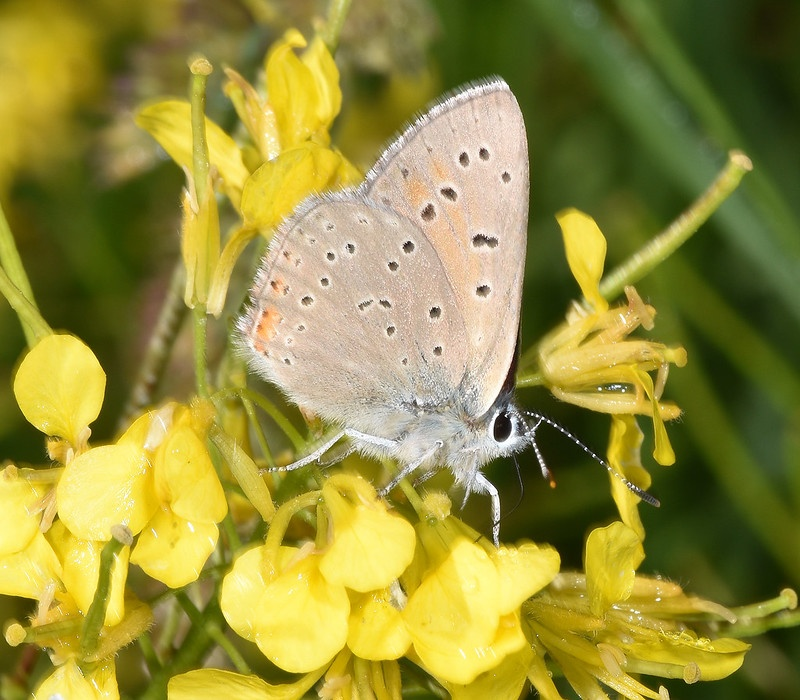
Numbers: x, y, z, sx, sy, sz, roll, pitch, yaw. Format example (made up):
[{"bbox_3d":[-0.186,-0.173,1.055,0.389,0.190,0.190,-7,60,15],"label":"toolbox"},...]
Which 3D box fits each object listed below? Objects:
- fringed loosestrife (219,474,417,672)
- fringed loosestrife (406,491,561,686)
[{"bbox_3d":[-0.115,0.324,1.463,0.263,0.114,0.284,31,79,-3],"label":"fringed loosestrife"},{"bbox_3d":[0.118,0.388,1.503,0.221,0.070,0.241,18,67,1],"label":"fringed loosestrife"}]
